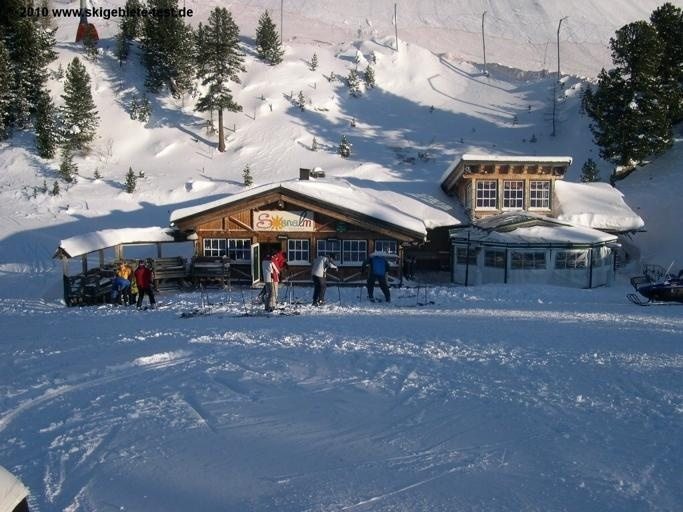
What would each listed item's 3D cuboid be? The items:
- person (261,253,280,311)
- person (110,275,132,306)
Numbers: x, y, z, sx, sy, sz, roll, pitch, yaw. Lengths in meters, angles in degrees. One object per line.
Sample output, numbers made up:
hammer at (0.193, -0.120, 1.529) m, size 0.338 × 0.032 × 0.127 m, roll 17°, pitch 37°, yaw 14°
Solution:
person at (-4.824, 1.878, 59.111) m, size 0.883 × 3.654 × 0.976 m, roll 0°, pitch 4°, yaw -2°
person at (-15.215, 2.394, 61.161) m, size 1.192 × 1.956 × 0.970 m, roll -1°, pitch 4°, yaw -12°
